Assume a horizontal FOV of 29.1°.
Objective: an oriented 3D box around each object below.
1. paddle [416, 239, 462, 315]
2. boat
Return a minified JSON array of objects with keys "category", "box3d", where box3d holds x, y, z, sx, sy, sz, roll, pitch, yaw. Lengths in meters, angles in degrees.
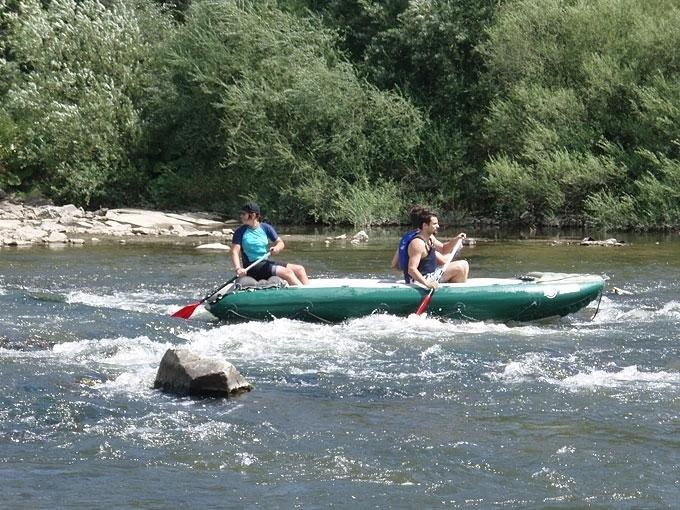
[{"category":"paddle","box3d":[2.381,0.603,30.942,0.317,2.427,0.170,47,-29,-10]},{"category":"boat","box3d":[1.744,1.063,31.113,8.852,1.311,0.682,2,2,1]}]
